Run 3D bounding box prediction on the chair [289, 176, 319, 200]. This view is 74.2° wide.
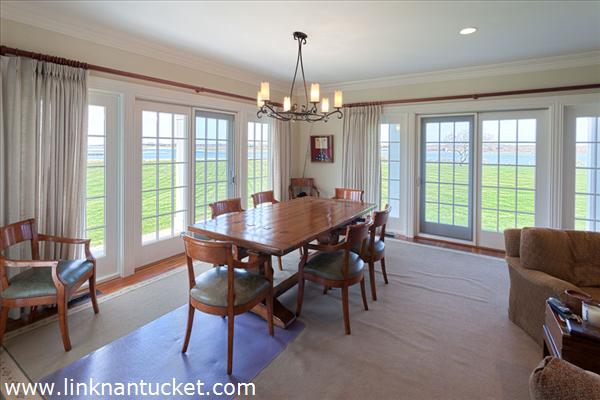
[{"bbox_3d":[0.030,-0.251,7.964,0.542,0.681,0.447,0,5,-4],"label":"chair"}]

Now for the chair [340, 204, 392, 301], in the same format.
[{"bbox_3d":[1.105,0.610,5.412,0.968,1.362,0.901,1,3,25],"label":"chair"}]

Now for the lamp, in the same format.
[{"bbox_3d":[-0.011,-1.580,6.397,1.264,0.387,1.257,2,3,32],"label":"lamp"}]

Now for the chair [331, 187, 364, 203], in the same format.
[{"bbox_3d":[0.787,-0.076,6.420,0.338,0.432,0.307,0,-2,25],"label":"chair"}]

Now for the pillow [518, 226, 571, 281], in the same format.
[{"bbox_3d":[2.650,0.579,4.254,0.504,0.539,0.233,-2,8,3],"label":"pillow"}]

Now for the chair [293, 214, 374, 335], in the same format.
[{"bbox_3d":[0.495,0.803,5.137,1.102,1.606,1.179,3,3,28],"label":"chair"}]
